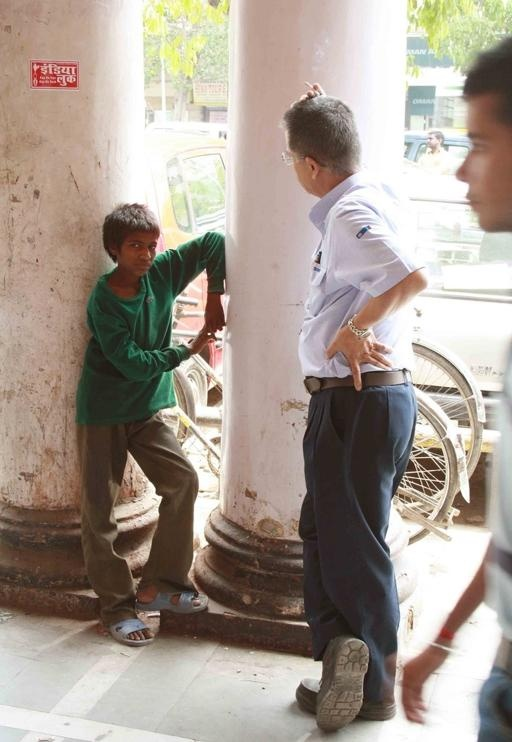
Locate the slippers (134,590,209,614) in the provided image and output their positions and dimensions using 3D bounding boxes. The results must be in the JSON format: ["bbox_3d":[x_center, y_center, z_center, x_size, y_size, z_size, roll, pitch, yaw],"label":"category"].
[{"bbox_3d":[-0.350,0.950,2.895,0.292,0.088,0.102,-2,9,6],"label":"slippers"}]

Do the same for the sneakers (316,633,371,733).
[{"bbox_3d":[0.270,0.985,2.161,0.141,0.359,0.098,1,9,-10],"label":"sneakers"}]

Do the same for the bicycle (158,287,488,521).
[{"bbox_3d":[0.441,0.277,4.688,2.769,1.495,1.199,6,14,13],"label":"bicycle"}]

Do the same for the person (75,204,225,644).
[{"bbox_3d":[-0.436,0.200,2.885,0.612,1.772,0.490,0,9,-13],"label":"person"}]

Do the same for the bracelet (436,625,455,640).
[{"bbox_3d":[0.301,0.414,1.086,0.022,0.020,0.022,6,7,5],"label":"bracelet"}]

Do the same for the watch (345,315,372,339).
[{"bbox_3d":[0.302,-0.121,2.011,0.035,0.067,0.061,-43,22,-23],"label":"watch"}]

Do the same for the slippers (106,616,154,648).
[{"bbox_3d":[-0.517,1.056,2.837,0.190,0.085,0.171,0,8,-14],"label":"slippers"}]

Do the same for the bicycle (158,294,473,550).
[{"bbox_3d":[0.441,0.275,4.682,2.627,1.459,1.181,8,17,14],"label":"bicycle"}]
